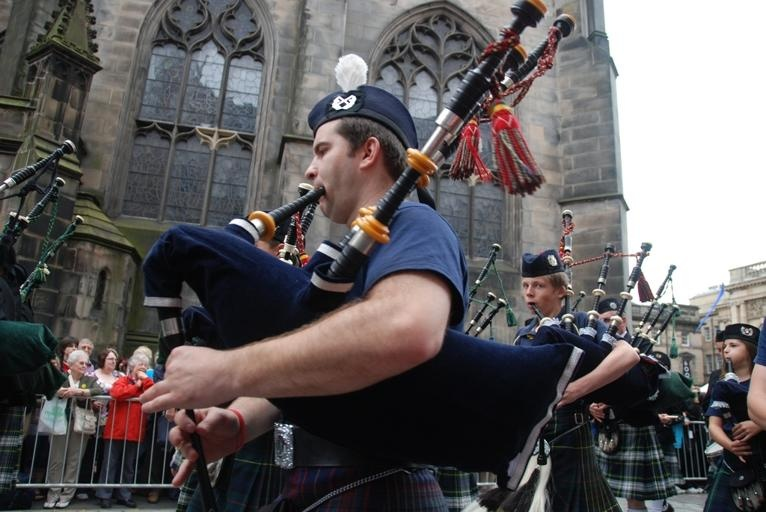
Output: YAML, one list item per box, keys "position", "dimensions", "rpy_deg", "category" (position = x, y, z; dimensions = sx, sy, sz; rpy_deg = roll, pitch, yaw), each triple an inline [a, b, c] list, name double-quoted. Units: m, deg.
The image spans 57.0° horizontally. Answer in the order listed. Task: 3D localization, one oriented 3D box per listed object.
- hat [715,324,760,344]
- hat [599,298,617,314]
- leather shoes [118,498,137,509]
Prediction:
- position: [3.608, 0.768, 7.106]
  dimensions: [0.271, 0.130, 0.215]
  rpy_deg: [13, -18, 14]
  category: "hat"
- position: [2.697, 0.604, 8.465]
  dimensions: [0.247, 0.188, 0.367]
  rpy_deg: [0, -2, 21]
  category: "hat"
- position: [-3.257, 3.181, 9.002]
  dimensions: [0.291, 0.114, 0.103]
  rpy_deg: [6, -13, 12]
  category: "leather shoes"
